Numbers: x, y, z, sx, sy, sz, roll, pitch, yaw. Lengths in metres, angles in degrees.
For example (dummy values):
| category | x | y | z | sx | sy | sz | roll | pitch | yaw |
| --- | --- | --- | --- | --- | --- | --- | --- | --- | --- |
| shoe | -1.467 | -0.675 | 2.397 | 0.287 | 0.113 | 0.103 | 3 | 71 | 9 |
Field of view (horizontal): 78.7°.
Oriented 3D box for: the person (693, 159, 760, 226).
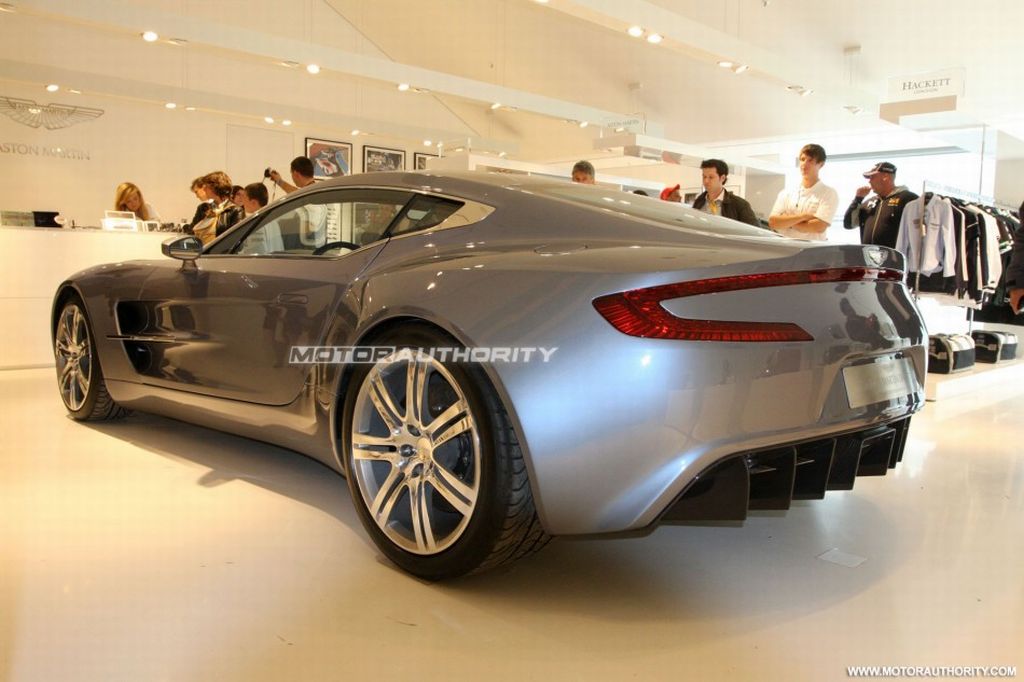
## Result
| category | x | y | z | sx | sy | sz | roll | pitch | yaw |
| --- | --- | --- | --- | --- | --- | --- | --- | --- | --- |
| person | 1.773 | -1.302 | 5.343 | 0.345 | 0.576 | 0.691 | -26 | 35 | -23 |

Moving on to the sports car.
| category | x | y | z | sx | sy | sz | roll | pitch | yaw |
| --- | --- | --- | --- | --- | --- | --- | --- | --- | --- |
| sports car | -0.404 | -0.020 | 2.874 | 3.287 | 1.010 | 1.748 | 8 | 6 | 41 |

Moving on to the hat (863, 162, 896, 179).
| category | x | y | z | sx | sy | sz | roll | pitch | yaw |
| --- | --- | --- | --- | --- | --- | --- | --- | --- | --- |
| hat | 3.855 | -1.821 | 6.624 | 0.308 | 0.166 | 0.206 | 10 | 8 | 33 |

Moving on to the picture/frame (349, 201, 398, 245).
| category | x | y | z | sx | sy | sz | roll | pitch | yaw |
| --- | --- | --- | --- | --- | --- | --- | --- | --- | --- |
| picture/frame | -0.624 | -0.541 | 2.837 | 0.252 | 0.156 | 0.070 | 7 | 0 | 42 |
